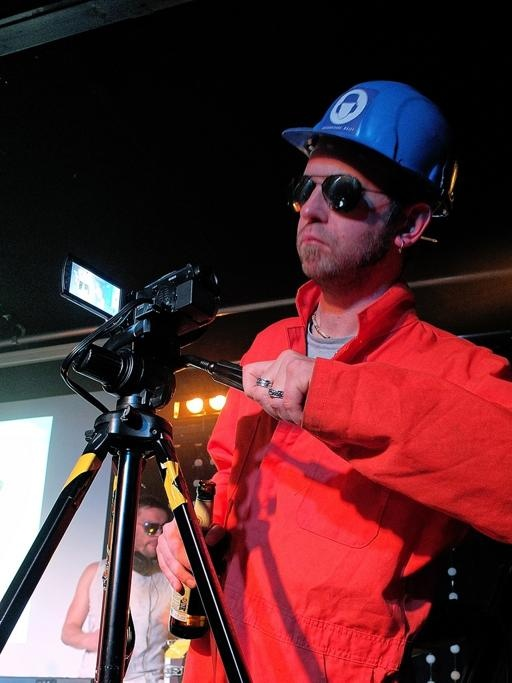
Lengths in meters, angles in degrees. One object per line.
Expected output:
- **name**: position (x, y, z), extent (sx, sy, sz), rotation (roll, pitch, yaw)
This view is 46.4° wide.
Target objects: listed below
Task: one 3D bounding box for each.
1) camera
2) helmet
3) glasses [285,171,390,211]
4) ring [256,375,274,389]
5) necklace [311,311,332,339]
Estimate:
- **camera**: position (-0.295, -0.035, 1.293), extent (0.459, 0.236, 0.204), rotation (-16, -22, 19)
- **helmet**: position (0.296, -0.531, 1.441), extent (0.373, 0.191, 0.308), rotation (39, 27, 30)
- **glasses**: position (0.163, -0.327, 1.318), extent (0.125, 0.051, 0.132), rotation (6, -10, 38)
- **ring**: position (0.012, 0.059, 0.870), extent (0.018, 0.007, 0.013), rotation (25, -14, -17)
- **necklace**: position (0.153, -0.037, 1.409), extent (0.047, 0.055, 0.021), rotation (-4, 6, -39)
